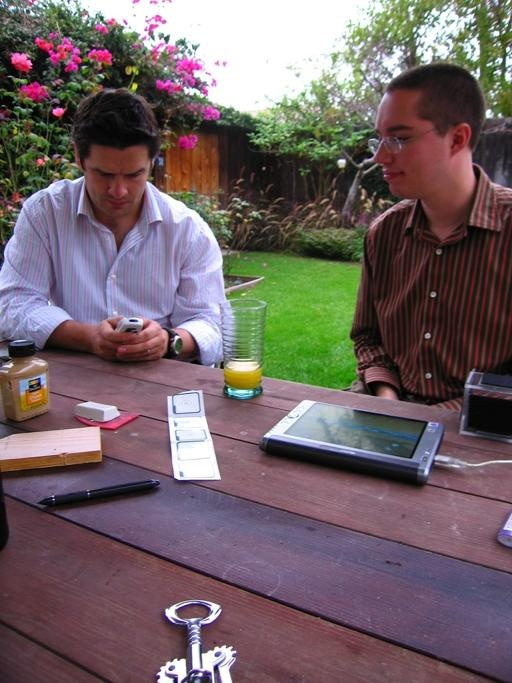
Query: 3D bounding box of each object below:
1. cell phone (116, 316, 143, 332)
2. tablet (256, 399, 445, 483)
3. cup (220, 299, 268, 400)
[{"bbox_3d":[-0.353,-0.047,1.503,0.081,0.040,0.070,-4,15,-18],"label":"cell phone"},{"bbox_3d":[0.195,0.178,1.035,0.351,0.034,0.354,12,13,38],"label":"tablet"},{"bbox_3d":[-0.037,0.021,1.306,0.132,0.222,0.125,-1,1,0],"label":"cup"}]
